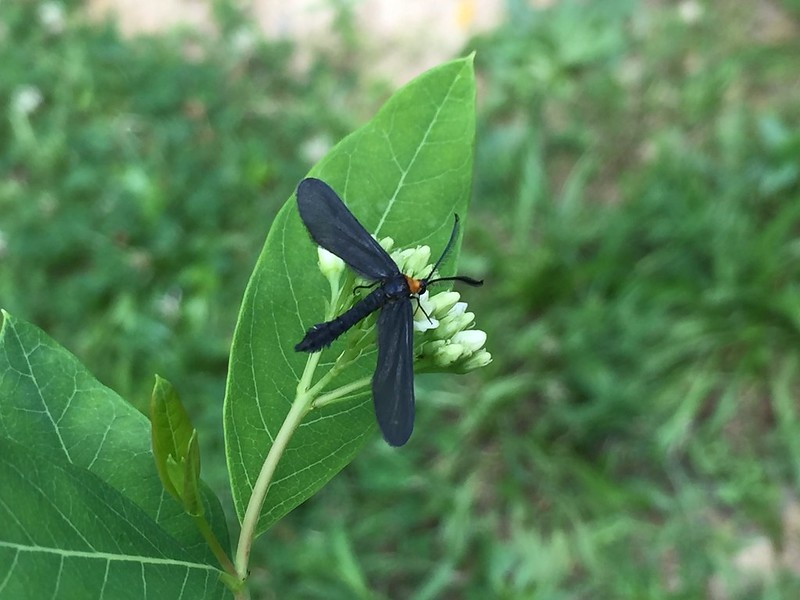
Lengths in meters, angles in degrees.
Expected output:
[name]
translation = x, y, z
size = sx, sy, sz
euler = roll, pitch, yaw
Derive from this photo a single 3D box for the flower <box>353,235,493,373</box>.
[flower]
translation = 0.071, 0.022, 2.634
size = 0.286, 0.287, 0.413
euler = -3, -72, -15
